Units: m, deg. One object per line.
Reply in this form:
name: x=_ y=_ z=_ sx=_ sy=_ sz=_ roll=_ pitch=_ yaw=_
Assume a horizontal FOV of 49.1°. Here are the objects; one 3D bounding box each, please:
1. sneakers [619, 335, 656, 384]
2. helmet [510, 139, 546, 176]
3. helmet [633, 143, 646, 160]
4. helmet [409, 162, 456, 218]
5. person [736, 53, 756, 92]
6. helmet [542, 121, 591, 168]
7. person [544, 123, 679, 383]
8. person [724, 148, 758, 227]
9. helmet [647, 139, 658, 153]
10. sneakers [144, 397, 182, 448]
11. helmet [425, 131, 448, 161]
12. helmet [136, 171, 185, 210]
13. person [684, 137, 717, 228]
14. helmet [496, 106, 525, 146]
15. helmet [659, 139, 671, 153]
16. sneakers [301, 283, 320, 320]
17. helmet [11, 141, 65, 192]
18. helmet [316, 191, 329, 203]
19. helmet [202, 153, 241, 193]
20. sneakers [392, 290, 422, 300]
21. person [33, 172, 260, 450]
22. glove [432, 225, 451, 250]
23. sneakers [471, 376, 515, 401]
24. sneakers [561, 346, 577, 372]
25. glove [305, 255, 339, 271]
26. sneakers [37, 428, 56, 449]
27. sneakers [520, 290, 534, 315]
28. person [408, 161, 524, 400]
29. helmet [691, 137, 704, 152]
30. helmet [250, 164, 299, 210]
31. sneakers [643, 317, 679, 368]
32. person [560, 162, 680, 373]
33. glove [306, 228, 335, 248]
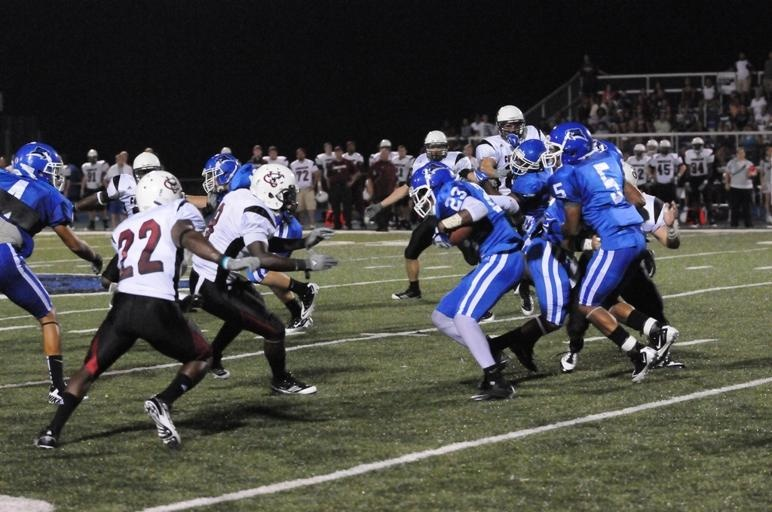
sneakers: x=2.038 y=0.805 z=6.688 sx=0.251 sy=0.304 sz=0.296 roll=-3 pitch=1 yaw=30
helmet: x=1.336 y=-0.887 z=7.781 sx=0.369 sy=0.264 sz=0.267 roll=6 pitch=12 yaw=8
helmet: x=5.400 y=-2.253 z=18.049 sx=0.281 sy=0.311 sz=0.323 roll=4 pitch=28 yaw=2
helmet: x=0.402 y=-0.542 z=6.794 sx=0.459 sy=0.393 sz=0.342 roll=-14 pitch=-3 yaw=-12
person: x=8.977 y=-4.572 z=21.182 sx=0.387 sy=0.802 sz=0.518 roll=-3 pitch=1 yaw=26
helmet: x=1.523 y=-0.944 z=7.039 sx=0.446 sy=0.337 sz=0.357 roll=-4 pitch=20 yaw=12
person: x=1.809 y=-0.044 z=6.966 sx=0.833 sy=2.079 sz=0.798 roll=-9 pitch=0 yaw=3
person: x=7.544 y=-1.425 z=17.922 sx=0.615 sy=1.369 sz=0.761 roll=-3 pitch=1 yaw=22
helmet: x=5.720 y=-2.357 z=18.085 sx=0.207 sy=0.194 sz=0.289 roll=-17 pitch=-11 yaw=19
sneakers: x=-1.472 y=1.090 z=5.607 sx=0.200 sy=0.333 sz=0.219 roll=-3 pitch=1 yaw=-10
helmet: x=0.639 y=-1.373 z=10.594 sx=0.303 sy=0.334 sz=0.379 roll=-2 pitch=3 yaw=3
helmet: x=-1.613 y=-0.471 z=5.935 sx=0.296 sy=0.295 sz=0.354 roll=10 pitch=13 yaw=10
person: x=6.841 y=-1.615 z=18.373 sx=0.584 sy=1.534 sz=0.903 roll=-3 pitch=1 yaw=19
helmet: x=1.490 y=-1.486 z=9.848 sx=0.341 sy=0.438 sz=0.447 roll=-6 pitch=-5 yaw=9
helmet: x=5.915 y=-2.327 z=17.799 sx=0.300 sy=0.298 sz=0.258 roll=-6 pitch=9 yaw=-13
sneakers: x=-0.799 y=0.452 z=8.829 sx=0.178 sy=0.380 sz=0.136 roll=8 pitch=5 yaw=-36
helmet: x=-2.843 y=-0.732 z=7.060 sx=0.514 sy=0.392 sz=0.362 roll=4 pitch=-6 yaw=-15
helmet: x=-1.390 y=-1.310 z=18.672 sx=0.270 sy=0.174 sz=0.257 roll=-1 pitch=8 yaw=-6
helmet: x=-1.720 y=-0.900 z=9.049 sx=0.450 sy=0.366 sz=0.367 roll=-10 pitch=1 yaw=-29
sneakers: x=0.260 y=0.454 z=10.338 sx=0.368 sy=0.145 sz=0.129 roll=3 pitch=-8 yaw=-5
person: x=-1.562 y=0.338 z=5.645 sx=1.317 sy=1.868 sz=0.519 roll=-3 pitch=1 yaw=-5
glove: x=0.453 y=-0.160 z=6.952 sx=0.200 sy=0.104 sz=0.145 roll=26 pitch=-10 yaw=-21
sneakers: x=0.810 y=0.996 z=6.407 sx=0.291 sy=0.122 sz=0.170 roll=-1 pitch=1 yaw=-1
sneakers: x=1.551 y=0.856 z=7.129 sx=0.096 sy=0.099 sz=0.244 roll=11 pitch=18 yaw=17
glove: x=-0.445 y=0.051 z=5.977 sx=0.167 sy=0.041 sz=0.126 roll=1 pitch=28 yaw=-13
sneakers: x=-2.253 y=1.202 z=5.618 sx=0.107 sy=0.082 sz=0.167 roll=7 pitch=0 yaw=-27
sneakers: x=1.565 y=0.525 z=9.324 sx=0.114 sy=0.288 sz=0.117 roll=-7 pitch=-19 yaw=10
person: x=0.648 y=0.166 z=6.539 sx=0.833 sy=1.629 sz=0.521 roll=-3 pitch=1 yaw=8
helmet: x=6.677 y=-2.399 z=18.090 sx=0.278 sy=0.278 sz=0.335 roll=9 pitch=25 yaw=13
helmet: x=-0.799 y=-0.546 z=6.648 sx=0.395 sy=0.327 sz=0.298 roll=19 pitch=17 yaw=22
sneakers: x=2.215 y=0.702 z=6.808 sx=0.135 sy=0.387 sz=0.271 roll=-33 pitch=59 yaw=-30
person: x=1.810 y=0.071 z=6.786 sx=0.878 sy=1.533 sz=0.559 roll=-3 pitch=1 yaw=-2
glove: x=-0.489 y=-0.142 z=6.175 sx=0.196 sy=0.138 sz=0.359 roll=-3 pitch=1 yaw=-5
